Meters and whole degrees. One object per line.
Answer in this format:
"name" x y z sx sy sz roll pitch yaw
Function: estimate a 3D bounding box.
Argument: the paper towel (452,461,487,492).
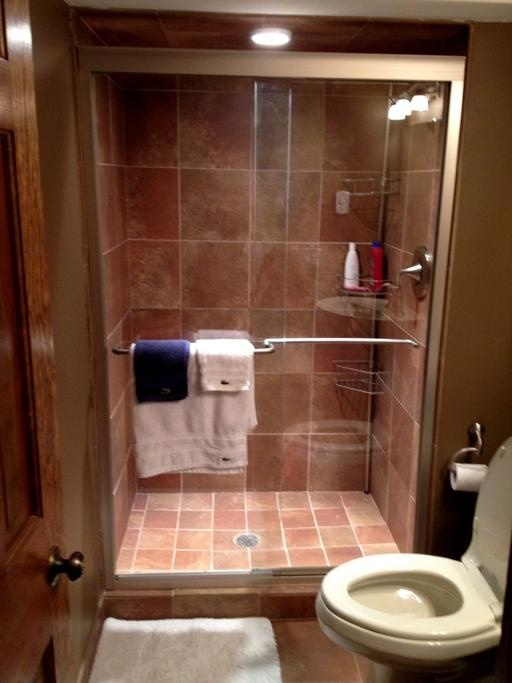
"paper towel" 0.658 0.421 1.756 0.100 0.092 0.090 -6 58 9

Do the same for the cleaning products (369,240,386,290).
"cleaning products" 0.392 -0.242 1.838 0.051 0.154 0.034 3 9 6

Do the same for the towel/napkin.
"towel/napkin" -0.212 0.198 1.887 0.358 0.506 0.105 -1 12 -2

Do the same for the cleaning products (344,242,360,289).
"cleaning products" 0.312 -0.242 1.836 0.054 0.148 0.028 3 9 3
